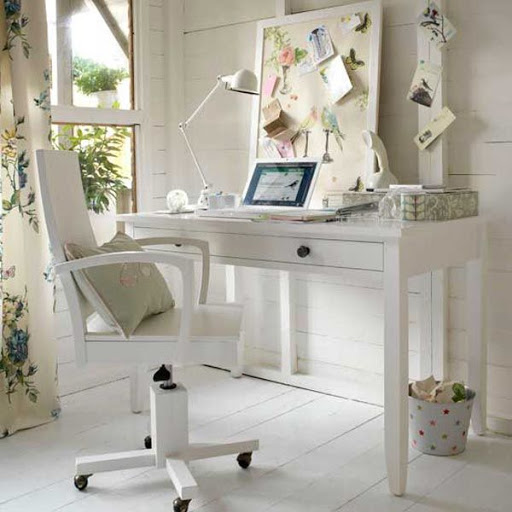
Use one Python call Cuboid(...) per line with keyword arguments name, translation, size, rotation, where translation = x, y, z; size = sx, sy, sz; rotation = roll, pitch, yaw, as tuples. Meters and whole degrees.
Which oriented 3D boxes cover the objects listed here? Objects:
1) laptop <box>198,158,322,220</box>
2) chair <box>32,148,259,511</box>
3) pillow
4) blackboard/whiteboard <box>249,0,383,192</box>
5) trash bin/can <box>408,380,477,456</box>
Cuboid(name="laptop", translation=(0.018, -0.172, 1.811), size=(0.304, 0.225, 0.326), rotation=(2, 1, -45))
Cuboid(name="chair", translation=(-0.425, 0.202, 1.978), size=(0.821, 1.569, 0.929), rotation=(1, 3, 4))
Cuboid(name="pillow", translation=(-0.414, 0.073, 1.472), size=(0.264, 0.270, 0.394), rotation=(0, 4, 2))
Cuboid(name="blackboard/whiteboard", translation=(0.234, -0.685, 2.106), size=(0.163, 0.825, 0.671), rotation=(-4, 5, -44))
Cuboid(name="trash bin/can", translation=(0.627, 0.533, 1.628), size=(0.208, 0.189, 0.236), rotation=(-1, -1, 14))
